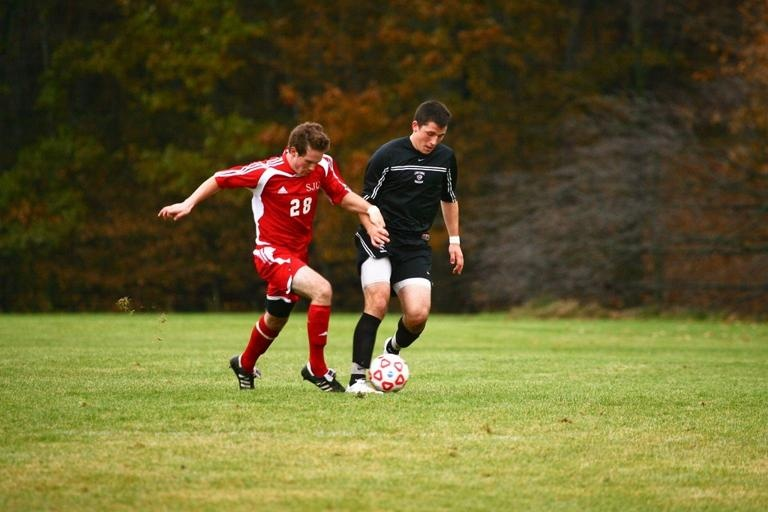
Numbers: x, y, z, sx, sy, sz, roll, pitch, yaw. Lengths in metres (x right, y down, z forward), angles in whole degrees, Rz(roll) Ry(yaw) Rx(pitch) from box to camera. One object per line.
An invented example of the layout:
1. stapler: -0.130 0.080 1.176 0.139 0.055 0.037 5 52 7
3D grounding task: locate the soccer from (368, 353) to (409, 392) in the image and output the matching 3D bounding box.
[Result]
1. soccer: 0.116 1.449 14.789 0.525 0.437 0.456 -11 7 -26

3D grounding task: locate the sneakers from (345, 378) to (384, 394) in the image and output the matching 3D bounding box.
1. sneakers: -0.214 1.644 14.869 0.507 0.210 0.174 -1 -5 11

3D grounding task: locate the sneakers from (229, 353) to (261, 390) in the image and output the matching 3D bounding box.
1. sneakers: -1.750 1.487 14.861 0.253 0.583 0.201 -18 2 13

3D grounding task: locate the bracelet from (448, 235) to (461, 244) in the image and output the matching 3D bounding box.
1. bracelet: 0.943 -0.203 15.624 0.123 0.088 0.122 -3 2 -4
